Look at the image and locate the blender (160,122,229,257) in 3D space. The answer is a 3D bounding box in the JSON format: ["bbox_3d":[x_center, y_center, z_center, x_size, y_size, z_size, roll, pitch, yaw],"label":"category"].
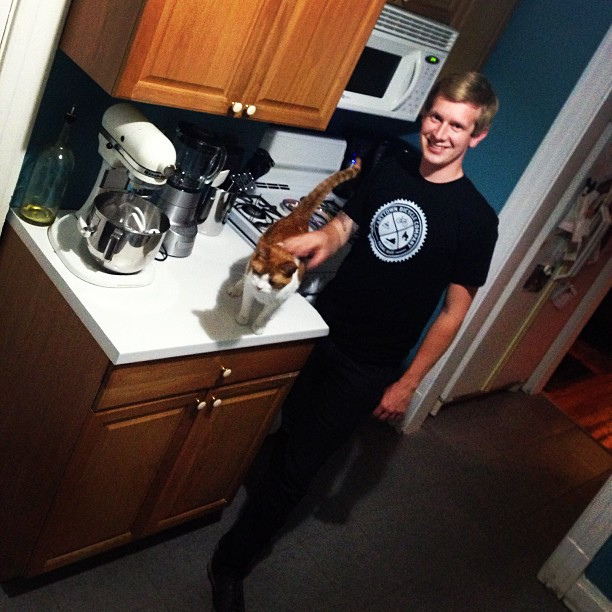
[{"bbox_3d":[-0.431,-0.380,1.717,0.195,0.393,0.255,27,16,34],"label":"blender"}]

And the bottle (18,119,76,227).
[{"bbox_3d":[-0.725,-0.371,1.454,0.101,0.339,0.101,29,23,-14],"label":"bottle"}]

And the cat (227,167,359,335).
[{"bbox_3d":[-0.068,-0.181,1.623,0.179,0.387,0.589,28,25,-3],"label":"cat"}]

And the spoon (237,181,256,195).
[{"bbox_3d":[-0.243,-0.494,2.209,0.049,0.065,0.024,-22,81,-14],"label":"spoon"}]
